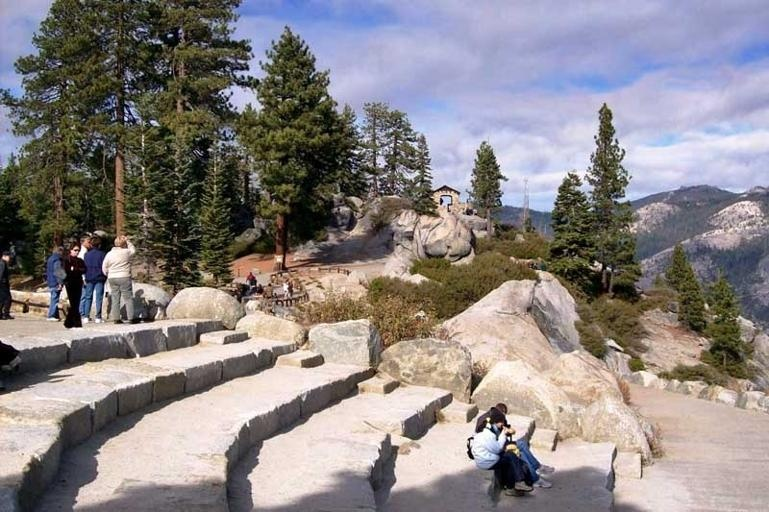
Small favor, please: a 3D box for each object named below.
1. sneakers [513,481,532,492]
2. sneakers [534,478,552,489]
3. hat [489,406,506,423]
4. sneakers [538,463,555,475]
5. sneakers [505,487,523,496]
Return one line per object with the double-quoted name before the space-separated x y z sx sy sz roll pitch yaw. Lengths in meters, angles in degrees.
"sneakers" 3.909 6.538 19.137 0.507 0.261 0.230 1 2 18
"sneakers" 4.526 6.511 19.400 0.445 0.198 0.252 -2 3 15
"hat" 3.233 4.559 19.344 0.345 0.486 0.439 6 -34 34
"sneakers" 4.738 6.258 19.835 0.530 0.236 0.223 1 8 1
"sneakers" 3.641 6.682 19.092 0.405 0.194 0.204 -3 1 7
